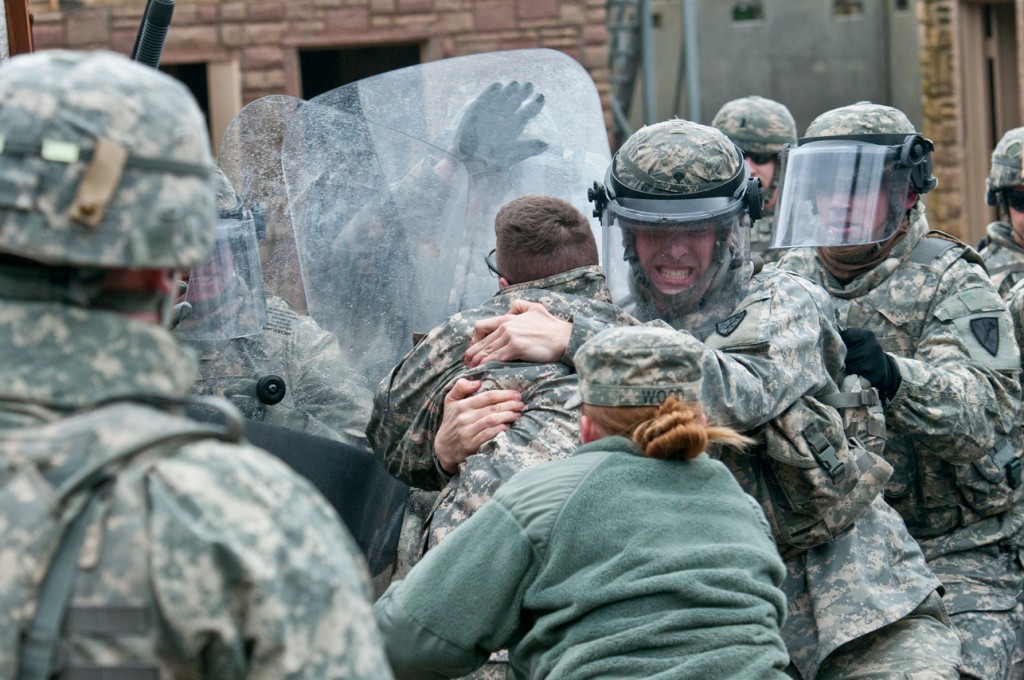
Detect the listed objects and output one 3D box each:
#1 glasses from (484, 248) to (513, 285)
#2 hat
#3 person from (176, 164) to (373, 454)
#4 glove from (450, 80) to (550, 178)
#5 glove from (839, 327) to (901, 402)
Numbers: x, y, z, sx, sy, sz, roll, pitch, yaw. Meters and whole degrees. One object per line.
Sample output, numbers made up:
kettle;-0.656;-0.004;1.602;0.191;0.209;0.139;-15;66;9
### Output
glasses;-0.063;-0.302;6.977;0.155;0.046;0.153;29;-5;-17
hat;0.445;0.092;5.879;0.354;0.191;0.270;1;1;14
person;-0.899;-0.074;6.792;0.653;1.052;0.781;-20;7;-17
glove;-0.059;-0.928;7.290;0.404;0.409;0.104;25;-5;-37
glove;1.511;0.106;7.053;0.130;0.289;0.215;-28;29;3
